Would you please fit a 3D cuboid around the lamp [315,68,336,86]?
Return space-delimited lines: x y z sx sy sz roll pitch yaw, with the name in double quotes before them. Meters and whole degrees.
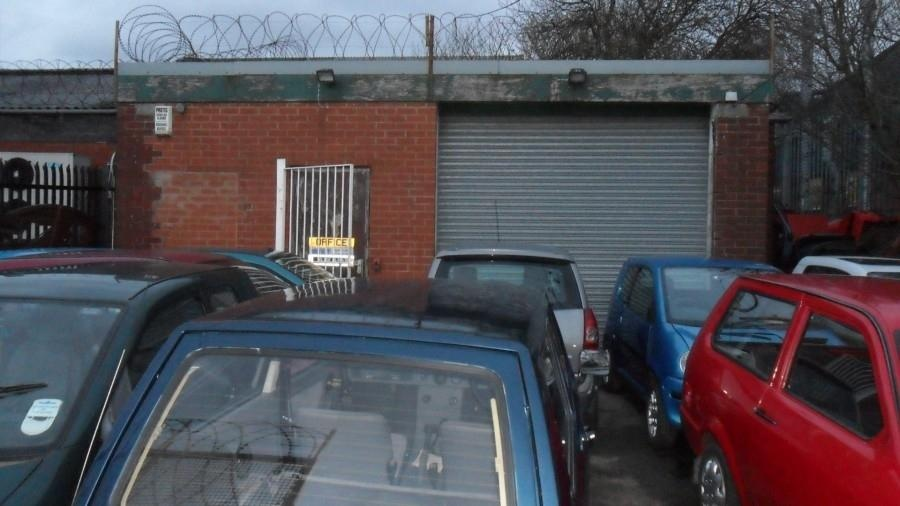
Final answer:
"lamp" -2.197 -3.086 15.302 0.342 0.276 0.253 1 10 -10
